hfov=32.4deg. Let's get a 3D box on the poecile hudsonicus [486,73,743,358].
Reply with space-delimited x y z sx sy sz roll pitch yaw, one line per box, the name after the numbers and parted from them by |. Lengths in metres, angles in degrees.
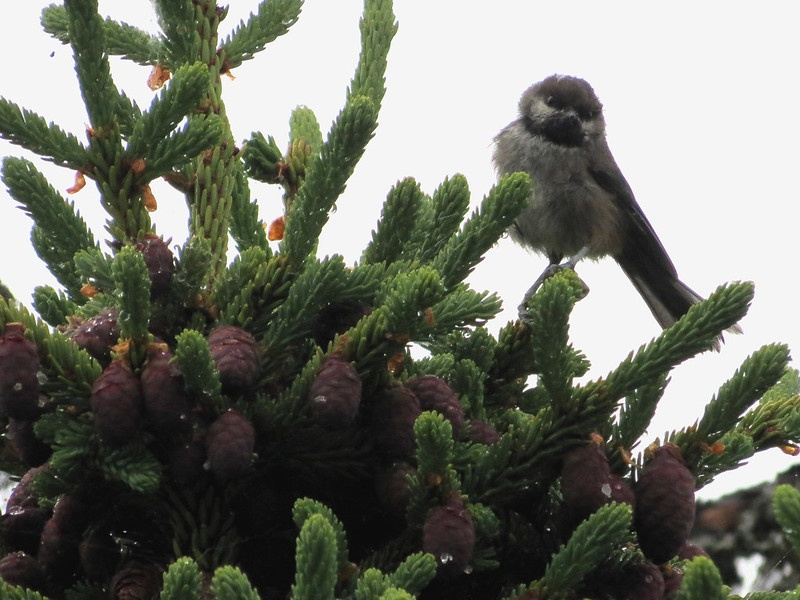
0.678 -0.257 5.035 0.776 0.991 0.531 15 -32 -12 | poecile hudsonicus
